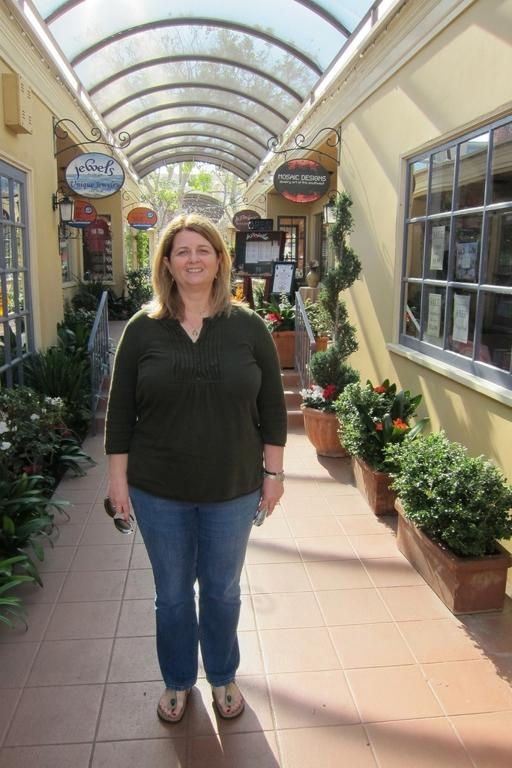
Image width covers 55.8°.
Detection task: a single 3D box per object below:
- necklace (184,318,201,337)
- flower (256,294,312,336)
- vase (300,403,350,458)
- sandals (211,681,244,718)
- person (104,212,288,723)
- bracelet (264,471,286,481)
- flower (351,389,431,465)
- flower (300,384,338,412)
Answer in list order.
[{"bbox_3d":[-0.164,-0.138,1.228,0.049,0.053,0.047,1,1,-8],"label":"necklace"},{"bbox_3d":[0.392,-1.008,7.217,1.073,0.644,1.062,2,4,-1],"label":"flower"},{"bbox_3d":[0.735,0.472,4.678,0.543,0.365,0.527,4,-3,23],"label":"vase"},{"bbox_3d":[-0.089,1.000,1.521,0.064,0.056,0.137,0,-5,-12],"label":"sandals"},{"bbox_3d":[-0.151,0.302,1.346,0.374,1.500,0.448,2,1,36],"label":"person"},{"bbox_3d":[0.057,0.259,1.384,0.039,0.021,0.040,9,-10,-33],"label":"bracelet"},{"bbox_3d":[0.906,0.286,3.523,0.534,0.570,0.468,4,11,-30],"label":"flower"},{"bbox_3d":[0.592,0.143,4.580,0.275,0.143,0.256,3,-9,0],"label":"flower"}]
